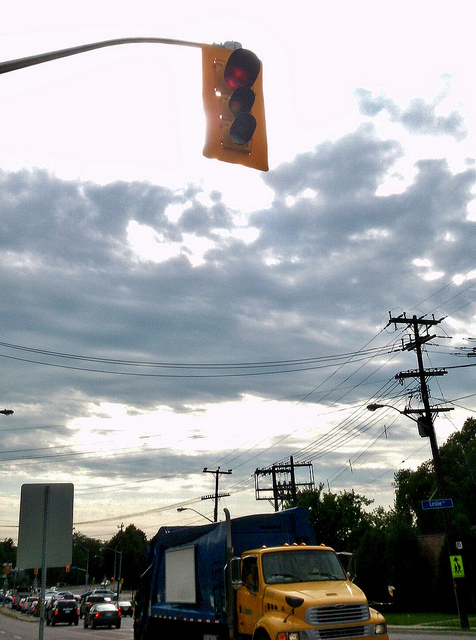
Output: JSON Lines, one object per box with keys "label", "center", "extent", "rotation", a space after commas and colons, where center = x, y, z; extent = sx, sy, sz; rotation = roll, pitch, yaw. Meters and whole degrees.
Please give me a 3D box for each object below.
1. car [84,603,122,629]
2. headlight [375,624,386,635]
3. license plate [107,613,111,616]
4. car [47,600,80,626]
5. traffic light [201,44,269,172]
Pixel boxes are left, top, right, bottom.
{"label": "car", "center": [-7.853, 17.394, 33.975], "extent": [1.318, 0.896, 2.580], "rotation": [5, -23, -9]}
{"label": "headlight", "center": [1.953, 4.281, 7.996], "extent": [0.163, 0.147, 0.110], "rotation": [3, -12, -9]}
{"label": "license plate", "center": [-7.310, 16.798, 32.949], "extent": [0.171, 0.110, 0.092], "rotation": [-1, -3, 7]}
{"label": "car", "center": [-11.329, 19.190, 37.993], "extent": [1.498, 1.277, 2.416], "rotation": [4, -15, -7]}
{"label": "traffic light", "center": [0.002, -2.200, 5.796], "extent": [0.712, 1.216, 0.612], "rotation": [2, -21, -17]}
